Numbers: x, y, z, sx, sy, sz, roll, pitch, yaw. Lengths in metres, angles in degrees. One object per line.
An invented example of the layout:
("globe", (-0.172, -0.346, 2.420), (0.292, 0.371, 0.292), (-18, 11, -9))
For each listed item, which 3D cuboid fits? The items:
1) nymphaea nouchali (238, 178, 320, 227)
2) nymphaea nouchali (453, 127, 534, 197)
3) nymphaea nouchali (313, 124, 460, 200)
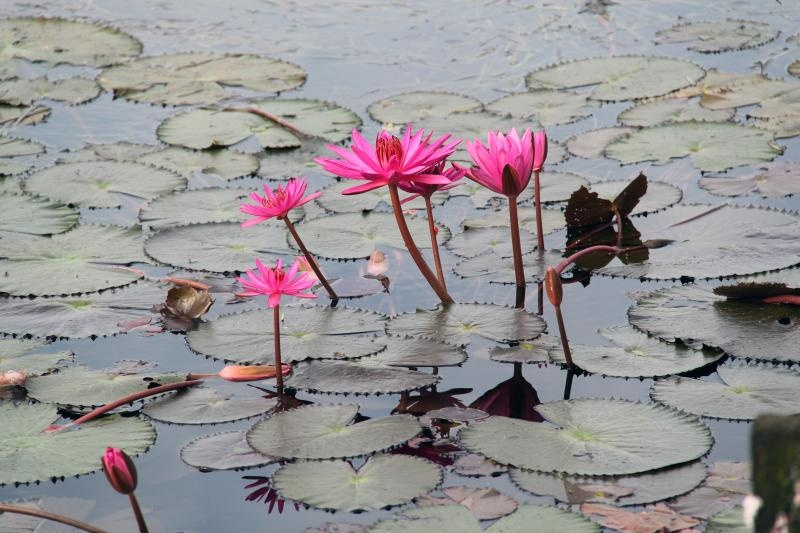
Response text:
("nymphaea nouchali", (-0.588, -0.303, 4.974), (0.380, 0.344, 0.260), (-3, 41, -3))
("nymphaea nouchali", (0.535, -0.501, 4.957), (0.472, 0.189, 0.405), (-10, 10, 13))
("nymphaea nouchali", (-0.043, -0.490, 4.671), (0.717, 0.133, 0.484), (1, 16, 11))
